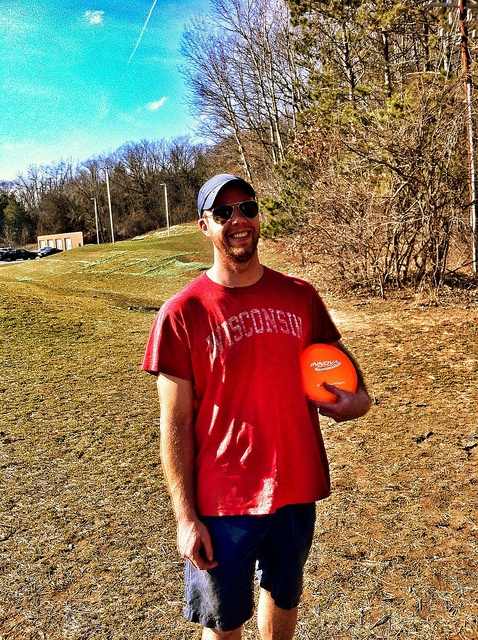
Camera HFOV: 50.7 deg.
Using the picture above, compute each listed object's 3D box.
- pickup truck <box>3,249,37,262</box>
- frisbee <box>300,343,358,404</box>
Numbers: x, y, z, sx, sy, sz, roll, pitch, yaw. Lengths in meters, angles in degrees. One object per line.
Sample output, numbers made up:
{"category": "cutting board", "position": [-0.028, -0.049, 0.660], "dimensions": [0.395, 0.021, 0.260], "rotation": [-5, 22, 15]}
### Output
{"category": "pickup truck", "position": [-22.173, -6.450, 50.474], "dimensions": [1.916, 0.983, 3.476], "rotation": [8, 16, 42]}
{"category": "frisbee", "position": [0.336, 0.207, 1.862], "dimensions": [0.050, 0.220, 0.216], "rotation": [-13, 39, 54]}
